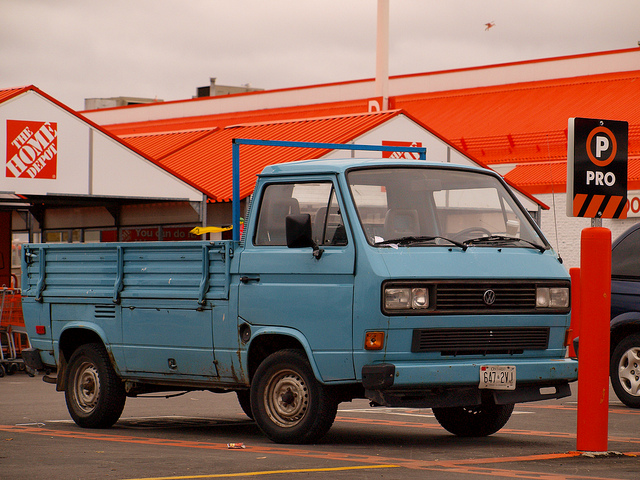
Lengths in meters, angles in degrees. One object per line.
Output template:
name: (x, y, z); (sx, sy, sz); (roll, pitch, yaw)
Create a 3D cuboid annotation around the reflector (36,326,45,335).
reflector: (-3.575, 1.150, 12.154); (0.140, 0.084, 0.019); (1, -3, 31)

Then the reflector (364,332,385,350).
reflector: (0.524, 0.973, 9.210); (0.198, 0.164, 0.068); (3, 5, 14)

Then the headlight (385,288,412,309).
headlight: (0.738, 0.550, 9.214); (0.373, 0.206, 0.184); (1, -2, -13)

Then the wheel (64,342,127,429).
wheel: (-2.765, 1.815, 11.836); (0.394, 1.042, 1.080); (2, -5, -44)

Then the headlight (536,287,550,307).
headlight: (2.290, 0.586, 9.776); (0.213, 0.168, 0.047); (0, 3, -40)

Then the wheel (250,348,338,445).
wheel: (-0.312, 1.633, 9.846); (1.109, 0.955, 0.894); (-3, -5, 45)

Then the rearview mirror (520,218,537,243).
rearview mirror: (2.198, -0.066, 10.215); (0.185, 0.277, 0.168); (-3, 0, -15)

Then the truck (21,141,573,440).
truck: (-0.499, 0.695, 11.531); (6.435, 2.609, 3.207); (-4, -5, 42)
